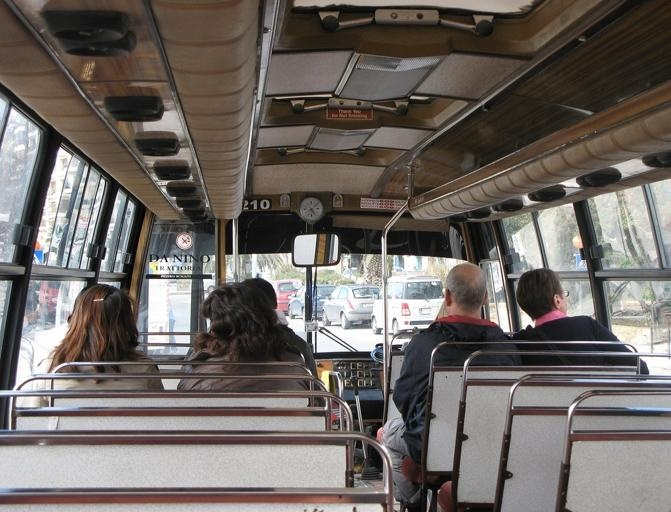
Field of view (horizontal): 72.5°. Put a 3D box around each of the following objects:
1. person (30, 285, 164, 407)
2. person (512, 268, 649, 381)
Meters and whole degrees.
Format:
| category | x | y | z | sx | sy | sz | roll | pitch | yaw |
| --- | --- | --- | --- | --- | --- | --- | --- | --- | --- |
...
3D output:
| category | x | y | z | sx | sy | sz | roll | pitch | yaw |
| --- | --- | --- | --- | --- | --- | --- | --- | --- | --- |
| person | -1.733 | 0.639 | 3.502 | 1.050 | 0.753 | 0.449 | 4 | 8 | 10 |
| person | 1.932 | 0.689 | 3.857 | 0.939 | 0.944 | 0.852 | -11 | -18 | 27 |
